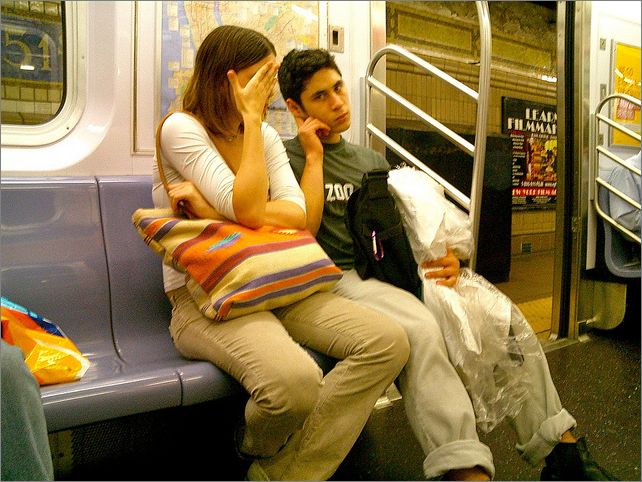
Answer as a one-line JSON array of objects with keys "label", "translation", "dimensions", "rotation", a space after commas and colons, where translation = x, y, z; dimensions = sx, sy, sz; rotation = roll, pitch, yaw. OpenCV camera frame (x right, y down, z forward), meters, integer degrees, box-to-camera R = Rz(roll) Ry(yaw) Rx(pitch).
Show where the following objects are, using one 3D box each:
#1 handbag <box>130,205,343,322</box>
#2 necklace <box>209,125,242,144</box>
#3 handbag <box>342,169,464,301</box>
[{"label": "handbag", "translation": [-0.290, 0.073, 1.559], "dimensions": [0.714, 0.336, 0.282], "rotation": [-2, 14, 1]}, {"label": "necklace", "translation": [-0.352, -0.391, 1.786], "dimensions": [0.064, 0.027, 0.082], "rotation": [-4, -1, -36]}, {"label": "handbag", "translation": [0.299, -0.051, 2.021], "dimensions": [0.460, 0.535, 0.369], "rotation": [-20, 5, 10]}]
